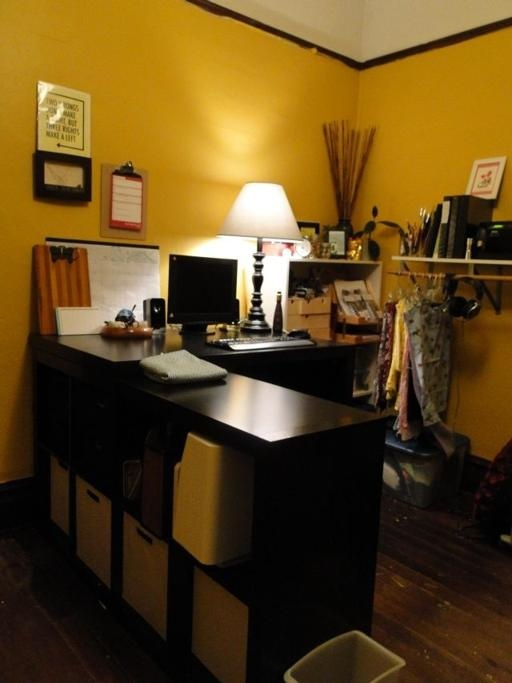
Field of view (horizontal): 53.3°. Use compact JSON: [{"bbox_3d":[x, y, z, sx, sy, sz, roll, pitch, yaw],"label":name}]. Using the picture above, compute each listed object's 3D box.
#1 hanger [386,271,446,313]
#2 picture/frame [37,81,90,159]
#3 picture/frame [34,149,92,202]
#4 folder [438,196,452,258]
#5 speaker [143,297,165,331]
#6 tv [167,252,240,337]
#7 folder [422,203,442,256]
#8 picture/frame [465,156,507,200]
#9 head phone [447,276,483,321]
[{"bbox_3d":[0.914,-0.307,3.056,0.543,0.253,0.163,-7,13,-30],"label":"hanger"},{"bbox_3d":[-0.858,-0.981,2.249,0.034,0.395,0.300,11,16,39],"label":"picture/frame"},{"bbox_3d":[-0.868,-0.740,2.264,0.032,0.193,0.223,6,8,40],"label":"picture/frame"},{"bbox_3d":[1.006,-0.608,2.727,0.043,0.224,0.197,4,16,17],"label":"folder"},{"bbox_3d":[-0.508,-0.138,2.556,0.099,0.152,0.076,1,4,-8],"label":"speaker"},{"bbox_3d":[-0.276,-0.230,2.584,0.376,0.439,0.133,-2,4,-40],"label":"tv"},{"bbox_3d":[0.983,-0.609,2.838,0.043,0.219,0.201,6,-3,9],"label":"folder"},{"bbox_3d":[1.264,-0.888,2.785,0.023,0.306,0.230,12,8,-33],"label":"picture/frame"},{"bbox_3d":[1.120,-0.235,2.717,0.100,0.277,0.198,-1,12,-27],"label":"head phone"}]
